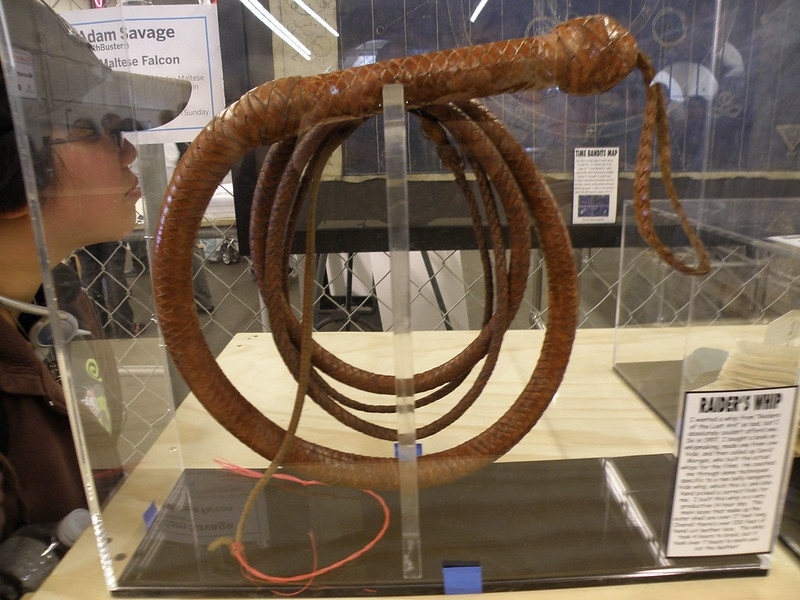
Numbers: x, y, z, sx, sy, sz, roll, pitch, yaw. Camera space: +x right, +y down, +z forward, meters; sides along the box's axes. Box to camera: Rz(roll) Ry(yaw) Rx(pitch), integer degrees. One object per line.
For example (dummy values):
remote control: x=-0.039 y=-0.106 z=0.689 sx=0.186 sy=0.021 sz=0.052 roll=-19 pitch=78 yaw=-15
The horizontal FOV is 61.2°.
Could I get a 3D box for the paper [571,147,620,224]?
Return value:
paper: x=0.250 y=-0.145 z=0.861 sx=0.056 sy=0.095 sz=0.031 roll=0 pitch=11 yaw=8
